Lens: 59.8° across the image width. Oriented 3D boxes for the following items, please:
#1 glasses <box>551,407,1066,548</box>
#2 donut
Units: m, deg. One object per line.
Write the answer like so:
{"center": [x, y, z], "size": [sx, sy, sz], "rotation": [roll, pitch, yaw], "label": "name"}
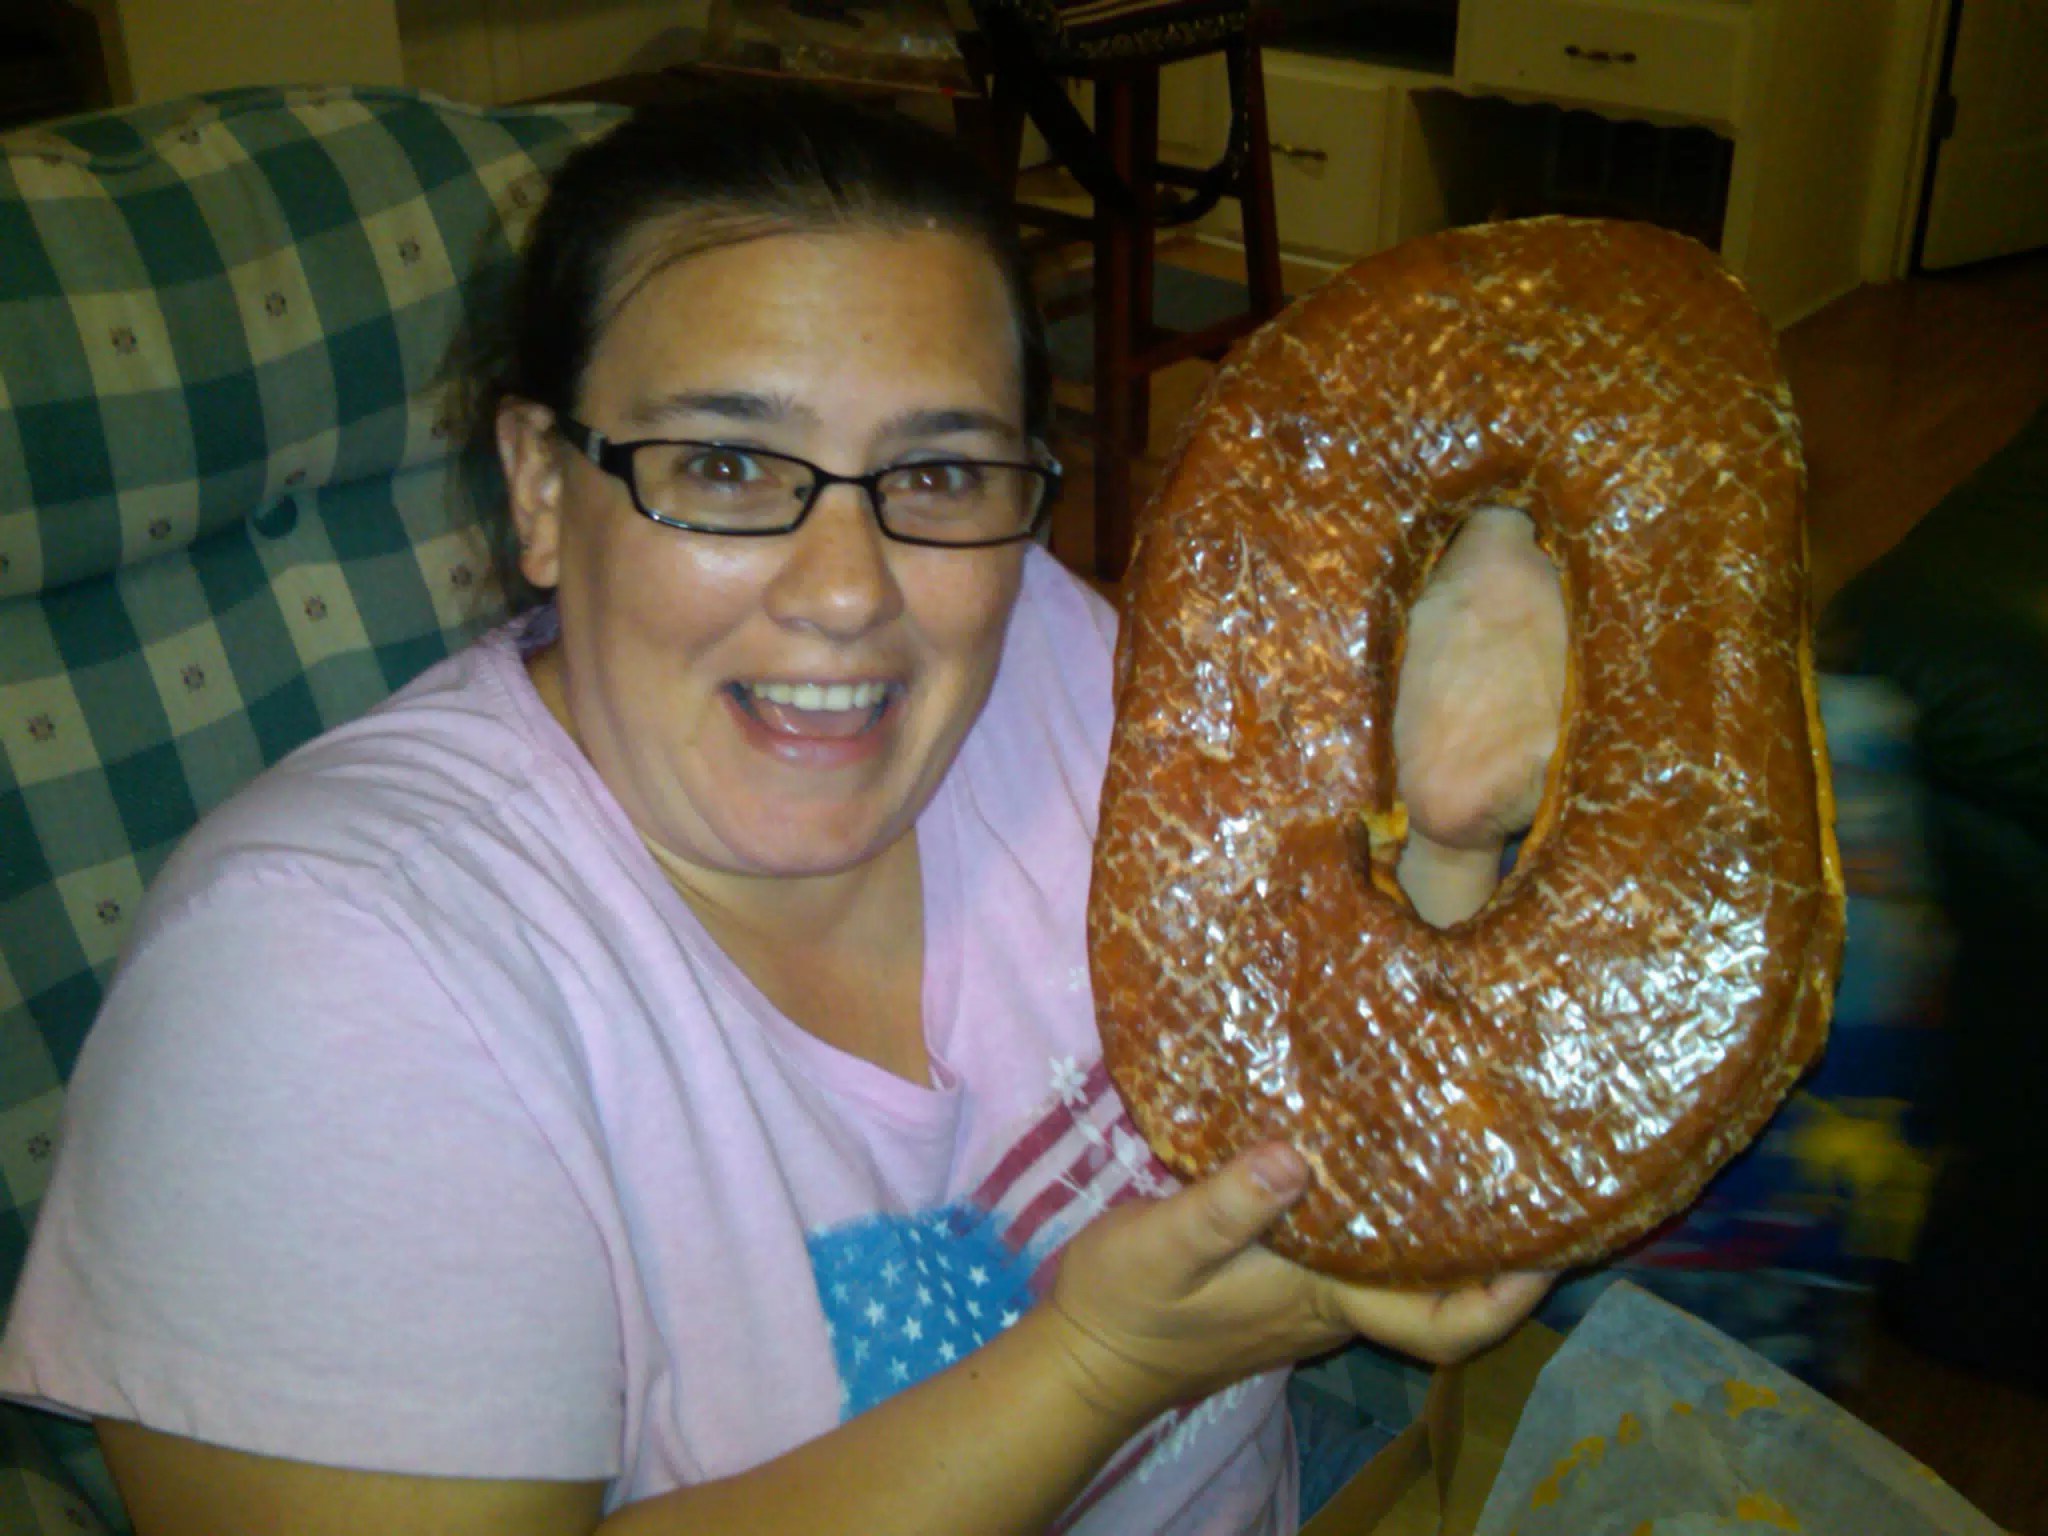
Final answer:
{"center": [-0.137, -0.177, 1.119], "size": [0.291, 0.089, 0.110], "rotation": [-8, 27, -14], "label": "glasses"}
{"center": [0.308, -0.129, 1.149], "size": [0.385, 0.159, 0.597], "rotation": [14, 38, 7], "label": "donut"}
